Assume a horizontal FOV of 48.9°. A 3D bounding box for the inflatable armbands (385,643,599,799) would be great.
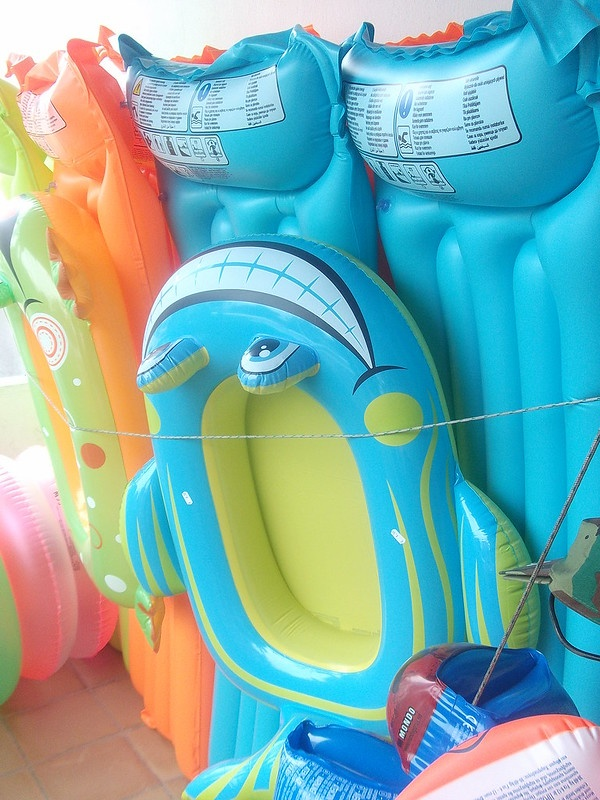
[{"bbox_3d":[0.174,0.308,0.715,0.153,0.129,0.203,-30,0,-44],"label":"inflatable armbands"}]
